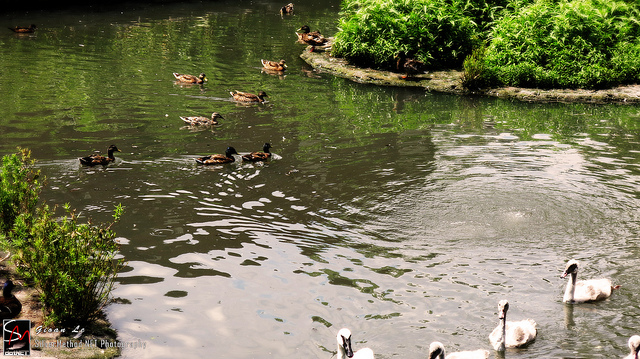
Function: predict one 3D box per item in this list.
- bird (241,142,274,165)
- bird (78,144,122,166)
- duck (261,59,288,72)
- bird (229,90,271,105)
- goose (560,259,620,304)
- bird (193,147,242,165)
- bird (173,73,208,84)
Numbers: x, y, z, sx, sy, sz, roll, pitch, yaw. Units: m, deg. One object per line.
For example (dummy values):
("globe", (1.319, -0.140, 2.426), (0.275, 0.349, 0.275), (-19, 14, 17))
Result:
("bird", (-2.260, -0.899, 22.675), (1.254, 0.643, 0.605), (-4, 25, -21))
("bird", (-7.442, -0.729, 21.831), (0.588, 0.792, 1.538), (23, 21, 36))
("duck", (-2.280, -5.568, 31.606), (1.346, 0.417, 0.615), (8, -28, 1))
("bird", (-3.125, -3.452, 27.361), (1.873, 0.590, 0.514), (4, 32, 5))
("goose", (7.373, 2.844, 18.176), (2.554, 1.189, 1.022), (-4, 7, -43))
("bird", (-3.567, -0.776, 22.349), (1.729, 0.508, 0.470), (-2, 20, -17))
("bird", (-5.859, -4.508, 29.008), (1.580, 0.487, 0.488), (4, 11, 35))
